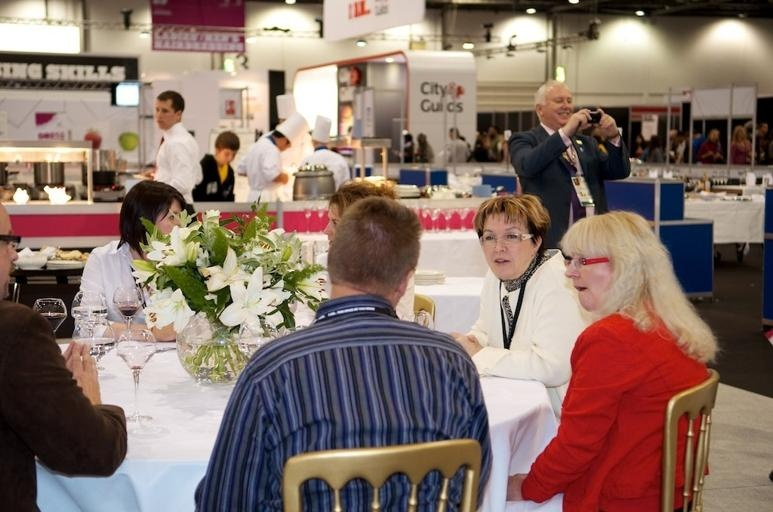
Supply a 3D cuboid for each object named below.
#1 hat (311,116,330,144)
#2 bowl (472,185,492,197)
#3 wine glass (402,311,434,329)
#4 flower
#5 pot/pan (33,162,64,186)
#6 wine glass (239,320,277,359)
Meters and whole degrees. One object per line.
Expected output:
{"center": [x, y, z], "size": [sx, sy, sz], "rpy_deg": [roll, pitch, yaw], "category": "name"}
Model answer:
{"center": [-0.706, -1.397, 8.842], "size": [0.247, 0.312, 0.314], "rpy_deg": [3, 34, -6], "category": "hat"}
{"center": [0.950, -0.647, 7.918], "size": [0.158, 0.137, 0.168], "rpy_deg": [1, -3, 0], "category": "bowl"}
{"center": [0.126, 0.253, 3.089], "size": [0.096, 0.108, 0.076], "rpy_deg": [-4, 8, -1], "category": "wine glass"}
{"center": [-0.581, 0.116, 3.067], "size": [0.632, 0.728, 0.663], "rpy_deg": [3, -8, -6], "category": "flower"}
{"center": [-2.674, -0.652, 6.197], "size": [0.185, 0.156, 0.201], "rpy_deg": [1, 1, 7], "category": "pot/pan"}
{"center": [-0.471, 0.309, 2.936], "size": [0.129, 0.144, 0.139], "rpy_deg": [1, -13, 1], "category": "wine glass"}
